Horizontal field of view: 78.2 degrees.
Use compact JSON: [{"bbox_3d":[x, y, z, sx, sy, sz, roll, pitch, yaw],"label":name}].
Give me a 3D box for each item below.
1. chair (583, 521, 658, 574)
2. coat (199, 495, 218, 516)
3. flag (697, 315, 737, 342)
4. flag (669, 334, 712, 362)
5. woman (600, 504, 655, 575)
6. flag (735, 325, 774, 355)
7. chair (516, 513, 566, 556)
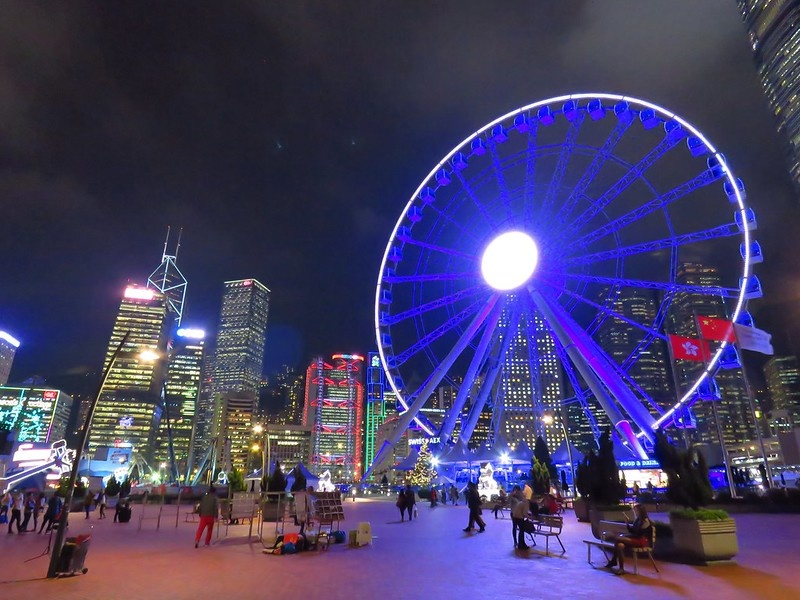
[{"bbox_3d":[6.611,7.259,14.469,0.733,1.144,1.832,10,-37,-14],"label":"chair"},{"bbox_3d":[-6.743,7.272,17.491,0.614,0.761,0.431,10,-26,-21],"label":"coat"},{"bbox_3d":[20.019,1.767,30.880,0.159,1.717,2.300,13,-12,-25],"label":"flag"},{"bbox_3d":[18.316,3.030,30.899,1.949,1.947,1.746,-15,-28,30],"label":"flag"},{"bbox_3d":[6.604,6.745,14.055,1.347,1.713,1.031,-12,-26,24],"label":"woman"},{"bbox_3d":[20.125,2.189,28.024,2.710,1.955,0.185,8,-21,-9],"label":"flag"},{"bbox_3d":[4.903,8.082,17.065,0.725,1.086,1.959,10,-39,-12],"label":"chair"}]
